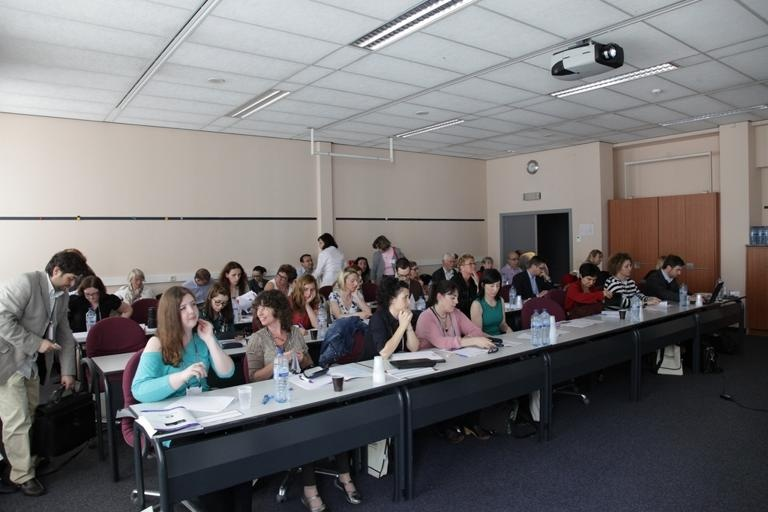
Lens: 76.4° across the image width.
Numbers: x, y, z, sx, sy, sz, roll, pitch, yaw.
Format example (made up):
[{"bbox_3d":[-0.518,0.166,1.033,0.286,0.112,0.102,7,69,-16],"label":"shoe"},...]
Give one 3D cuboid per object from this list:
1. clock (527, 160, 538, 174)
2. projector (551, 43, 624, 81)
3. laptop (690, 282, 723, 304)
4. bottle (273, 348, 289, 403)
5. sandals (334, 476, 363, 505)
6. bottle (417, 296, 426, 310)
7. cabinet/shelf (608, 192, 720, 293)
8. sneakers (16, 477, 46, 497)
[{"bbox_3d":[3.317,-2.017,10.973,0.084,0.302,0.307,-8,12,-32],"label":"clock"},{"bbox_3d":[2.296,-2.201,5.543,0.679,0.293,0.389,-7,-7,40],"label":"projector"},{"bbox_3d":[4.839,0.580,7.287,0.532,0.325,0.460,0,1,-41],"label":"laptop"},{"bbox_3d":[-0.817,0.955,3.899,0.118,0.316,0.339,-3,10,-12],"label":"bottle"},{"bbox_3d":[-0.309,2.060,4.289,0.113,0.094,0.259,0,7,-40],"label":"sandals"},{"bbox_3d":[0.538,0.703,7.201,0.126,0.201,0.124,2,-8,0],"label":"bottle"},{"bbox_3d":[5.528,-0.276,9.509,1.879,1.732,0.532,5,4,43],"label":"cabinet/shelf"},{"bbox_3d":[-3.204,2.096,4.444,0.310,0.114,0.116,-4,-7,32],"label":"sneakers"}]
